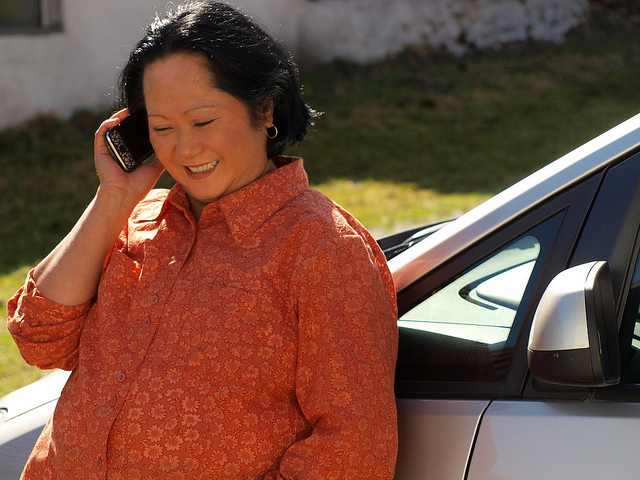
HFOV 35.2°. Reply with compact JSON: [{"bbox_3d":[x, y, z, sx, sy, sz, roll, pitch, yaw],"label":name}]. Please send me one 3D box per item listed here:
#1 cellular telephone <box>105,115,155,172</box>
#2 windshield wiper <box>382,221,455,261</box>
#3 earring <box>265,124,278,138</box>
[{"bbox_3d":[-0.664,-0.333,3.516,0.133,0.152,0.102,-21,32,-25],"label":"cellular telephone"},{"bbox_3d":[0.375,-0.031,3.733,0.405,0.051,0.090,-26,38,-34],"label":"windshield wiper"},{"bbox_3d":[-0.169,-0.358,3.350,0.044,0.048,0.027,-12,29,-11],"label":"earring"}]
